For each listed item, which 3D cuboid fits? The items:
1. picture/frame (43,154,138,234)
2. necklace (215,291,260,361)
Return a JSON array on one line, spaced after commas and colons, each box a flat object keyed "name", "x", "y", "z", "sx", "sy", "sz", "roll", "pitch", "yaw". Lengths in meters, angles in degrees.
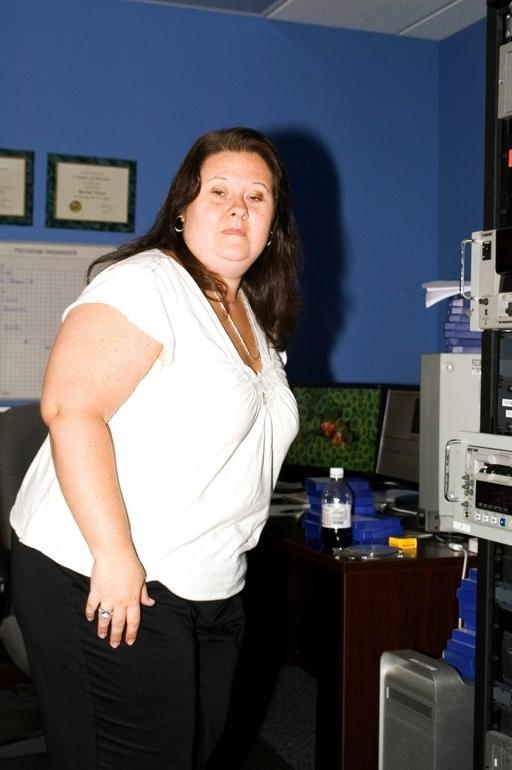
[{"name": "picture/frame", "x": -0.650, "y": -0.747, "z": 2.617, "sx": 0.314, "sy": 0.270, "sz": 0.022, "roll": 2, "pitch": 5, "yaw": -15}, {"name": "necklace", "x": -0.031, "y": -0.078, "z": 1.031, "sx": 0.007, "sy": 0.132, "sz": 0.038, "roll": -29, "pitch": -8, "yaw": 34}]
